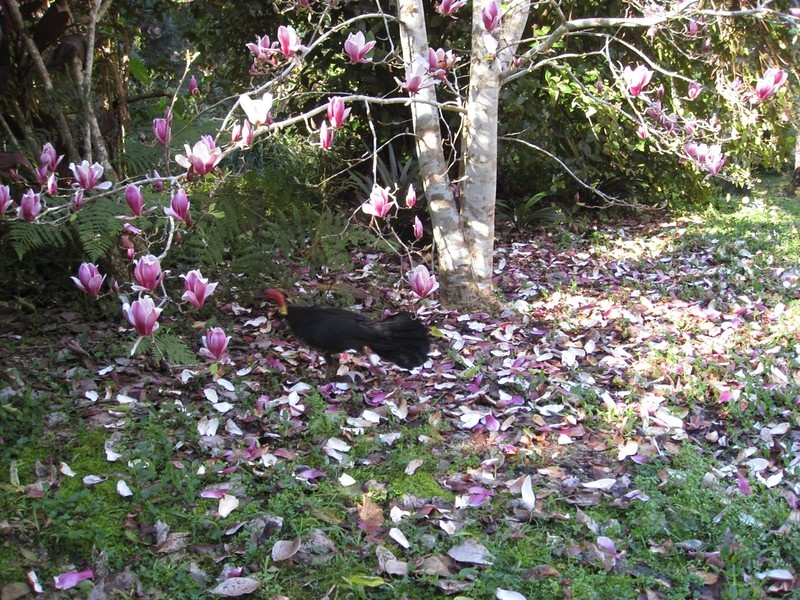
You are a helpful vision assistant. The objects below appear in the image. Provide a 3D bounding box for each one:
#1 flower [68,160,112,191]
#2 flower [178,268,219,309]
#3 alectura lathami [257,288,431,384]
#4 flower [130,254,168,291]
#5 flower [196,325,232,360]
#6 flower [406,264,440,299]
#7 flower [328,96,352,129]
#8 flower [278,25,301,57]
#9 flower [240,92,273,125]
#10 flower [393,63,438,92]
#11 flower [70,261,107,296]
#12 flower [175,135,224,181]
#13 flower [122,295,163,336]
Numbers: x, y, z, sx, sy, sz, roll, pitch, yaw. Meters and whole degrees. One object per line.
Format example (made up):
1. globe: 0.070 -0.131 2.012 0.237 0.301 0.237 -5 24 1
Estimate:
1. flower: -1.482 -0.582 3.086 0.149 0.189 0.386 -9 24 -24
2. flower: -0.928 -0.030 2.946 0.182 0.156 0.150 -17 -20 40
3. alectura lathami: -0.259 0.144 3.344 0.792 0.506 0.321 5 49 8
4. flower: -1.200 -0.130 3.053 0.128 0.161 0.160 -19 44 -29
5. flower: -0.956 0.227 3.319 0.163 0.185 0.186 -15 7 -43
6. flower: 0.095 -0.087 3.456 0.188 0.120 0.183 18 36 31
7. flower: -0.298 -0.854 2.959 0.077 0.146 0.178 -1 22 -6
8. flower: -0.528 -1.225 3.069 0.095 0.131 0.206 -3 22 -11
9. flower: -0.638 -0.843 2.868 0.120 0.139 0.297 -2 22 -8
10. flower: 0.069 -1.092 3.242 0.186 0.127 0.196 0 35 6
11. flower: -1.526 -0.087 3.165 0.114 0.234 0.253 -9 24 -25
12. flower: -0.849 -0.567 2.767 0.141 0.122 0.150 -11 -5 -1
13. flower: -1.115 0.087 2.764 0.178 0.164 0.149 -2 8 -30
